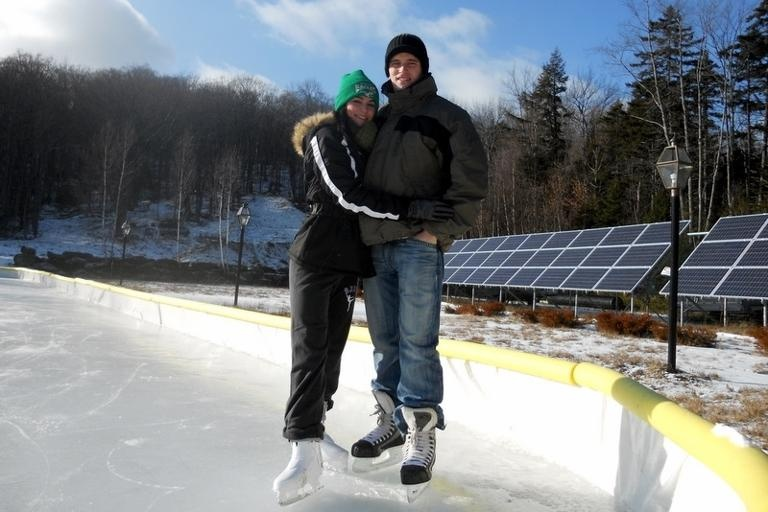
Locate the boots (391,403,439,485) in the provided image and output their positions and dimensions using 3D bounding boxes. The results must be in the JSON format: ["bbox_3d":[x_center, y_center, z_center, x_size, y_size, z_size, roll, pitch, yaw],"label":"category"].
[{"bbox_3d":[0.312,1.662,5.451,0.355,0.619,0.415,6,2,4],"label":"boots"}]

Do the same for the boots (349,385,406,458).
[{"bbox_3d":[-0.033,1.568,5.760,0.251,0.526,0.713,0,-4,37],"label":"boots"}]

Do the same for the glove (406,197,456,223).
[{"bbox_3d":[0.431,-0.400,5.504,0.417,0.182,0.053,6,2,3],"label":"glove"}]
